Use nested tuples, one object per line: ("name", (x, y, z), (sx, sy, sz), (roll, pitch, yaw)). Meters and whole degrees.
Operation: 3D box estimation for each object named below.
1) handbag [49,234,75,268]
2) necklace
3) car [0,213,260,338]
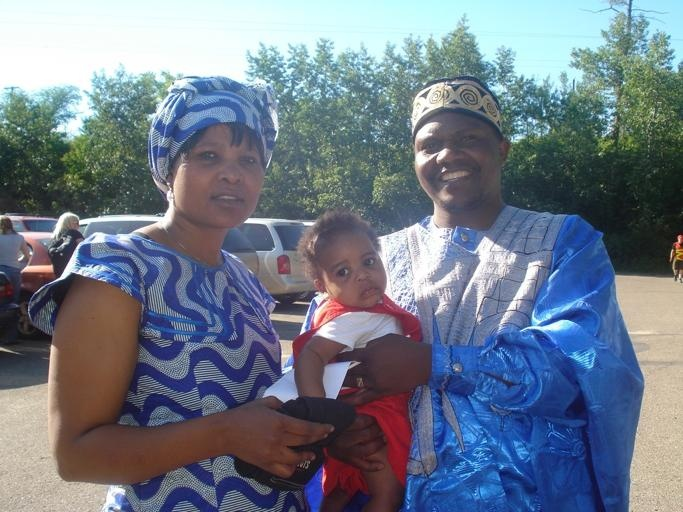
("handbag", (-3.124, -0.075, 8.241), (0.317, 0.308, 0.186), (-23, -23, 38))
("necklace", (-0.682, -0.060, 3.301), (0.210, 0.191, 0.251), (17, 5, -28))
("car", (-3.490, 0.114, 10.488), (4.486, 1.624, 2.051), (0, 1, -4))
